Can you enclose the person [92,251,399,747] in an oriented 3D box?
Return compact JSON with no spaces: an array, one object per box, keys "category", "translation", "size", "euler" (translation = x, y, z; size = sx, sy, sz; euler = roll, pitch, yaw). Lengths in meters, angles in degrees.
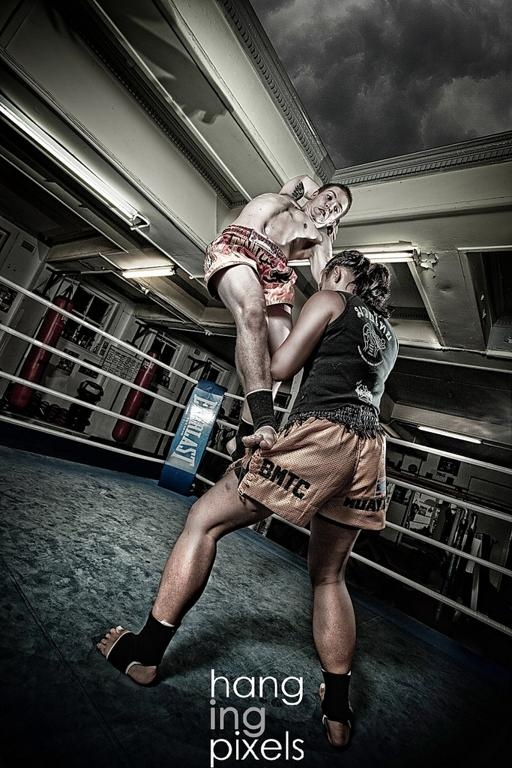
[{"category":"person","translation":[0.151,0.264,1.085],"size":[0.582,1.093,0.237],"euler":[30,-17,-20]}]
